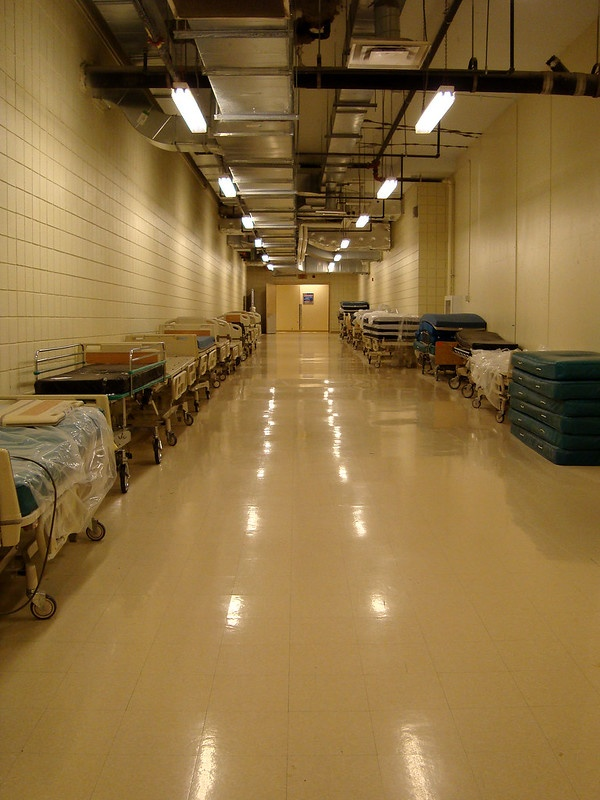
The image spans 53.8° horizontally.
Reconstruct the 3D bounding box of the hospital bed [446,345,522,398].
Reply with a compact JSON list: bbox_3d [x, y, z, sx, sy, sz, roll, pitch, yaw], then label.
[{"bbox_3d":[2.333,-0.435,7.861,0.624,0.548,0.868,1,4,-2],"label":"hospital bed"}]

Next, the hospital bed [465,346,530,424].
[{"bbox_3d":[1.959,-0.134,5.872,0.343,0.286,0.842,1,19,-2],"label":"hospital bed"}]
